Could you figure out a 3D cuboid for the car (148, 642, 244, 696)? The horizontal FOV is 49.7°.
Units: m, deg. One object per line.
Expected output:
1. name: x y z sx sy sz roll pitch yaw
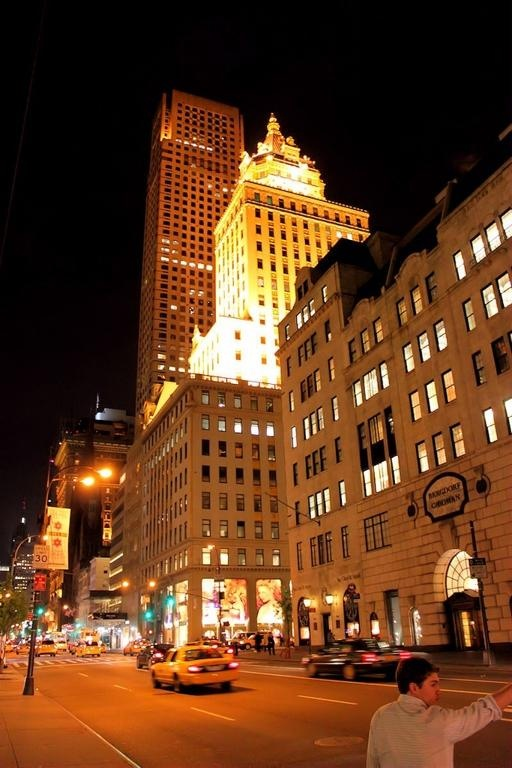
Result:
1. car: -2.313 10.659 20.635 1.617 1.493 4.057 12 -27 -31
